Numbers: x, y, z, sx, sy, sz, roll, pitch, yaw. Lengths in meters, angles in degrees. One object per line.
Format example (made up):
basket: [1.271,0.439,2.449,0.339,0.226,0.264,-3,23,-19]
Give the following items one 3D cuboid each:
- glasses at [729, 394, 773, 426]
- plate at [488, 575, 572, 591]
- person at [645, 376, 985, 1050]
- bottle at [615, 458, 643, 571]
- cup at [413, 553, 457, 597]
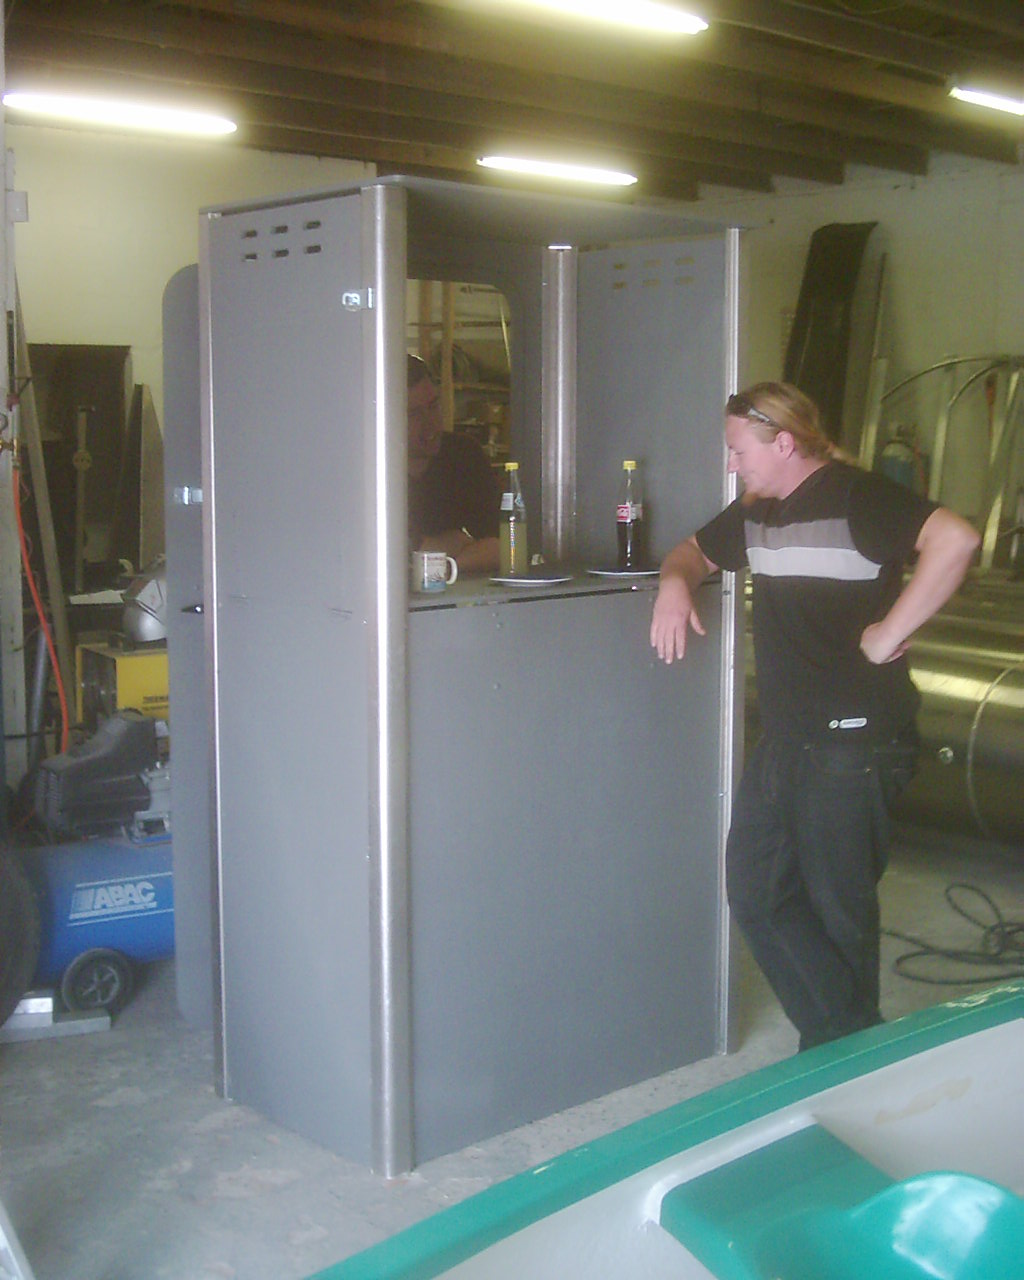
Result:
glasses: [0.534,-0.521,2.593,0.081,0.025,0.081,26,1,-16]
plate: [0.044,-0.137,2.663,0.196,0.027,0.137,0,6,-4]
person: [0.738,0.215,2.584,0.247,1.591,0.639,-5,8,-40]
bottle: [0.311,-0.341,3.055,0.075,0.291,0.211,0,6,6]
cup: [-0.177,-0.137,2.550,0.073,0.096,0.117,5,7,43]
